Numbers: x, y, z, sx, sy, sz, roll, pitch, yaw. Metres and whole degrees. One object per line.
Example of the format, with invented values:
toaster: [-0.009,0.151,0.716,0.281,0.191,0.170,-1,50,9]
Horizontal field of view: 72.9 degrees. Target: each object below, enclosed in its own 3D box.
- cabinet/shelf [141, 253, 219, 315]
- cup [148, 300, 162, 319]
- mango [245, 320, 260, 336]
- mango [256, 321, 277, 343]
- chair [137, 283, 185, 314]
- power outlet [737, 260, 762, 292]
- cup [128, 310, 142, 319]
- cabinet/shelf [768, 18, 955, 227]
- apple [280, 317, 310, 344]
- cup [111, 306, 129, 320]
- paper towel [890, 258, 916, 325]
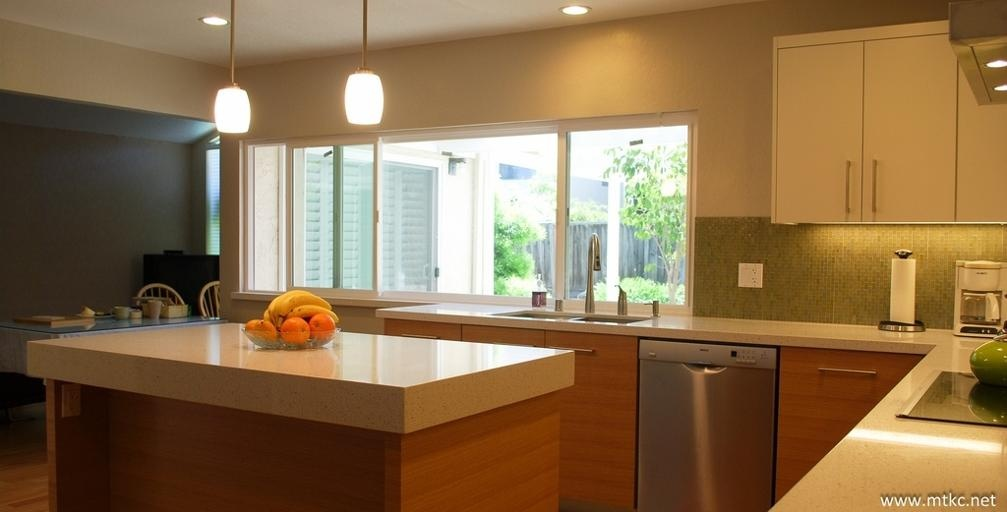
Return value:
cabinet/shelf: [-4.086,0.348,8.586,0.986,0.772,0.493,-1,3,-19]
cup: [-3.455,0.516,6.745,0.139,0.183,0.157,-4,3,-25]
mango: [-1.548,0.442,4.208,0.085,0.049,0.101,-14,15,-42]
mango: [-1.448,0.455,4.190,0.103,0.136,0.076,-39,-15,-42]
chair: [-3.824,0.468,7.590,0.385,0.127,0.287,13,7,16]
power outlet: [2.064,0.160,5.687,0.305,0.257,0.038,1,-1,23]
cup: [-3.609,0.565,6.691,0.092,0.048,0.084,0,6,0]
cabinet/shelf: [2.750,-0.990,5.158,1.938,1.619,0.695,0,-1,20]
apple: [-1.273,0.450,4.166,0.170,0.148,0.168,1,0,38]
cup: [-3.738,0.552,6.646,0.166,0.098,0.126,-2,-1,9]
paper towel: [3.050,0.265,5.201,0.163,0.496,0.096,-2,3,19]
